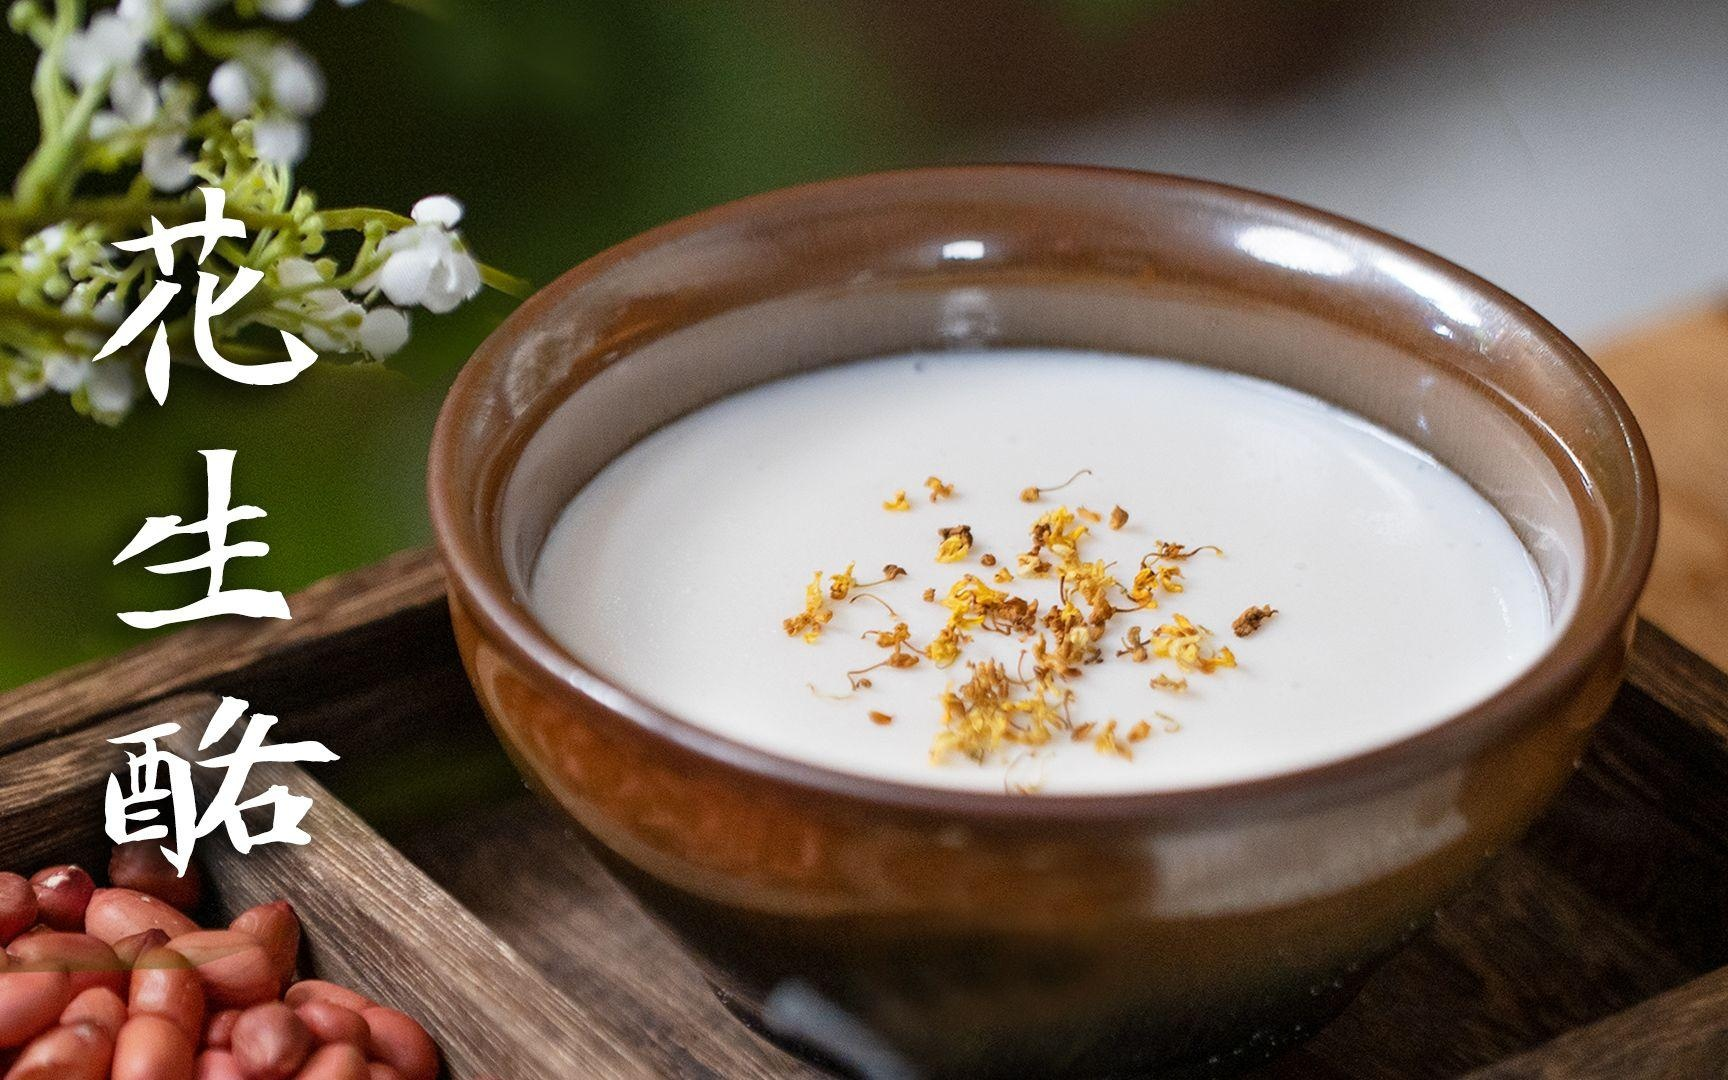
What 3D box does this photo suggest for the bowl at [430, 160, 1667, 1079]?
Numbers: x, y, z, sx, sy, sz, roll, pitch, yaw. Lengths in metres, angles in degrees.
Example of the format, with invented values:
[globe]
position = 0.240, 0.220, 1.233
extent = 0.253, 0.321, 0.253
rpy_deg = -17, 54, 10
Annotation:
[bowl]
position = 0.069, 0.042, 0.822
extent = 0.670, 0.272, 0.610
rpy_deg = 0, 35, 0
